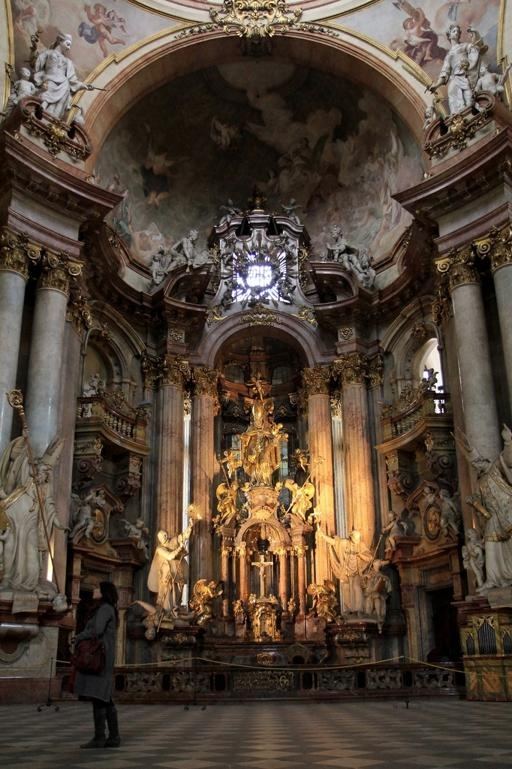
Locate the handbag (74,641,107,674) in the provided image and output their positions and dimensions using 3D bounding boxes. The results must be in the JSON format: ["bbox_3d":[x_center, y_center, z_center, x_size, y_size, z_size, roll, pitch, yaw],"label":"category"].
[{"bbox_3d":[-0.958,1.577,4.099,0.182,0.177,0.074,-10,-35,28],"label":"handbag"}]

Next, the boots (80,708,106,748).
[{"bbox_3d":[-0.899,1.891,3.938,0.119,0.208,0.295,1,-18,-12],"label":"boots"}]
